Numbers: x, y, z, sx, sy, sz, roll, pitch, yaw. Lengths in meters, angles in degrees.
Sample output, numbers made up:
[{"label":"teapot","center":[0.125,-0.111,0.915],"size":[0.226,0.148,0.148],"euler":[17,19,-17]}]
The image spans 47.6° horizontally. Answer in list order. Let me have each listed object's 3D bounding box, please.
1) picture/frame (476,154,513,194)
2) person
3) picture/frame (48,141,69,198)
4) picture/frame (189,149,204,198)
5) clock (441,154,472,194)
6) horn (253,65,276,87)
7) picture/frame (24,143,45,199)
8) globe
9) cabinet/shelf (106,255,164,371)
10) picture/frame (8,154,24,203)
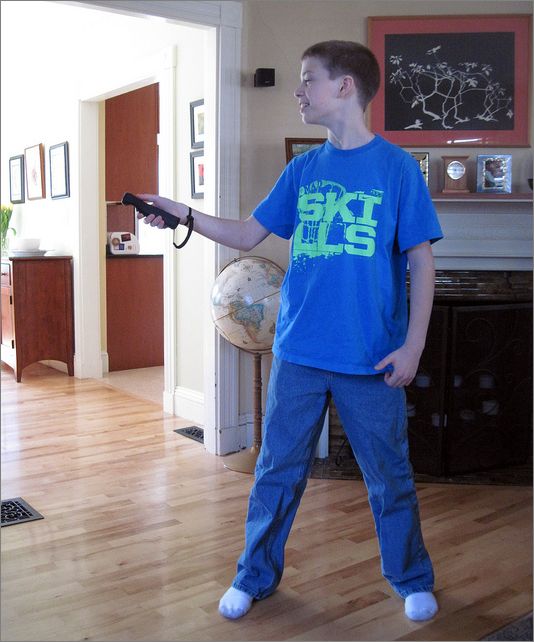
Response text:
[{"label":"picture/frame","center":[1.046,-0.673,2.773],"size":[0.222,0.249,0.018],"euler":[-1,3,1]},{"label":"person","center":[0.052,0.032,1.492],"size":[0.721,1.349,0.296],"euler":[1,1,13]},{"label":"picture/frame","center":[-1.684,-1.241,4.924],"size":[0.041,0.555,0.479],"euler":[-3,7,-39]},{"label":"picture/frame","center":[-0.388,-0.826,3.381],"size":[0.022,0.310,0.284],"euler":[-1,4,-22]},{"label":"clock","center":[0.866,-0.665,2.746],"size":[0.131,0.183,0.131],"euler":[0,3,1]},{"label":"horn","center":[-0.008,-1.119,2.777],"size":[0.087,0.084,0.085],"euler":[-3,5,-28]},{"label":"picture/frame","center":[-2.080,-1.355,5.432],"size":[0.069,0.680,0.538],"euler":[-3,6,-37]},{"label":"globe","center":[-0.055,0.218,2.593],"size":[0.254,0.972,0.301],"euler":[-4,9,-39]},{"label":"cabinet/shelf","center":[-1.118,-0.098,5.203],"size":[0.223,1.016,0.522],"euler":[-3,10,-35]},{"label":"picture/frame","center":[-2.456,-1.400,5.943],"size":[0.043,0.610,0.523],"euler":[-1,3,-37]}]
